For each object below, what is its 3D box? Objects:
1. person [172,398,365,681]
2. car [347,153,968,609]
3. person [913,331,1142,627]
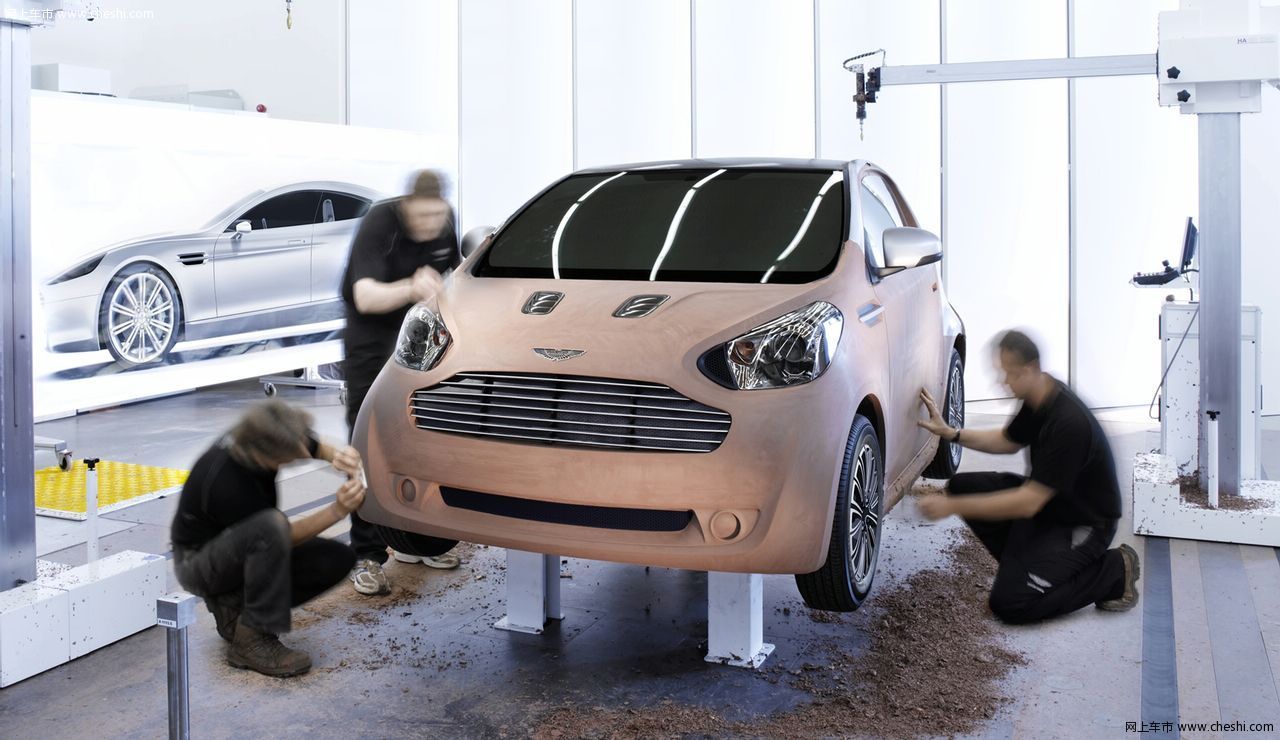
[{"bbox_3d":[-1.919,0.860,4.517,0.883,1.282,0.978,3,9,22],"label":"person"},{"bbox_3d":[0.581,-0.067,5.102,2.008,1.522,3.166,-1,-2,25],"label":"car"},{"bbox_3d":[2.166,0.595,4.967,1.075,1.536,1.276,-3,6,-33],"label":"person"}]
